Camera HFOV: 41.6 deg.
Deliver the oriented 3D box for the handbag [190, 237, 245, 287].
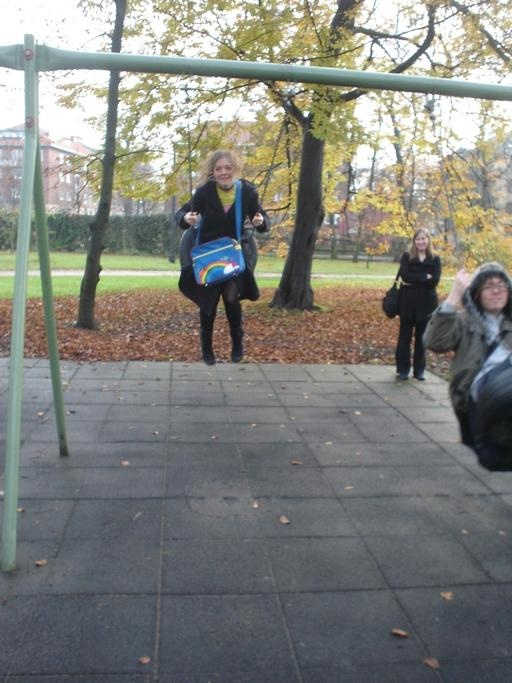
[{"bbox_3d":[-0.283,-0.599,4.936,0.346,0.269,0.185,-16,2,3],"label":"handbag"}]
